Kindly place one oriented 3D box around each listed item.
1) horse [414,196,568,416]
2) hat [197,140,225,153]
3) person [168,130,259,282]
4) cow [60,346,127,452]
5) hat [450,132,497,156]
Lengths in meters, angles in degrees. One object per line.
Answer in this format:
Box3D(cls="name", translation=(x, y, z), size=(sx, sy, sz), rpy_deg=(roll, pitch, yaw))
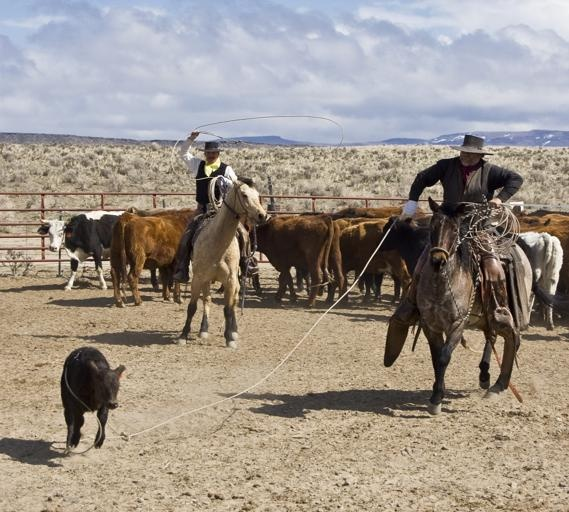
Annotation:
Box3D(cls="horse", translation=(1.906, 0.486, 6.036), size=(0.793, 2.076, 1.791), rpy_deg=(6, 8, 44))
Box3D(cls="hat", translation=(-1.080, -1.622, 9.044), size=(0.261, 0.192, 0.675), rpy_deg=(0, 5, -8))
Box3D(cls="person", translation=(-1.078, -0.713, 9.178), size=(1.355, 2.365, 0.806), rpy_deg=(-2, 18, -19))
Box3D(cls="cow", translation=(-1.614, 1.160, 4.930), size=(0.335, 0.762, 1.317), rpy_deg=(8, -6, -28))
Box3D(cls="hat", translation=(1.888, -1.102, 6.089), size=(0.382, 0.138, 0.369), rpy_deg=(12, 11, -4))
